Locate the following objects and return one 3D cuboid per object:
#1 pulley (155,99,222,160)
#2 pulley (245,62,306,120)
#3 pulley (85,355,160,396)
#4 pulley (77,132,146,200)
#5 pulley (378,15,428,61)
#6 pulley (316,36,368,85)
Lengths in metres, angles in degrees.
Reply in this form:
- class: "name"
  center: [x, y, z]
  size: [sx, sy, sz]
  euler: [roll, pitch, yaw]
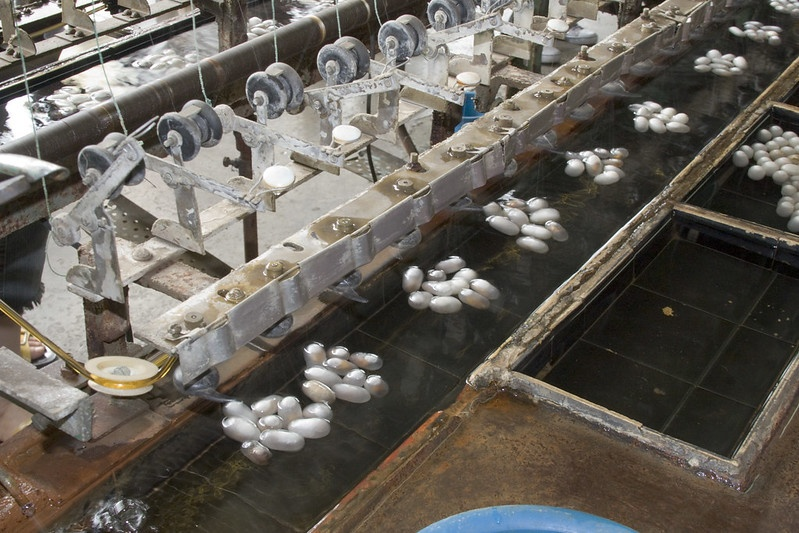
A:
- class: "pulley"
  center: [-0.896, -0.567, 2.705]
  size: [0.211, 0.211, 0.248]
  euler: [15, 36, 18]
- class: "pulley"
  center: [-0.600, -0.811, 2.984]
  size: [0.233, 0.215, 0.240]
  euler: [14, 39, 12]
- class: "pulley"
  center: [-0.938, 0.334, 2.178]
  size: [0.169, 0.052, 0.164]
  euler: [-9, 25, -42]
- class: "pulley"
  center: [-1.129, -0.396, 2.504]
  size: [0.229, 0.201, 0.220]
  euler: [9, 35, 5]
- class: "pulley"
  center: [-0.009, -1.196, 3.440]
  size: [0.253, 0.213, 0.231]
  euler: [3, 24, 8]
- class: "pulley"
  center: [-0.283, -0.994, 3.204]
  size: [0.265, 0.228, 0.244]
  euler: [-7, 47, -4]
